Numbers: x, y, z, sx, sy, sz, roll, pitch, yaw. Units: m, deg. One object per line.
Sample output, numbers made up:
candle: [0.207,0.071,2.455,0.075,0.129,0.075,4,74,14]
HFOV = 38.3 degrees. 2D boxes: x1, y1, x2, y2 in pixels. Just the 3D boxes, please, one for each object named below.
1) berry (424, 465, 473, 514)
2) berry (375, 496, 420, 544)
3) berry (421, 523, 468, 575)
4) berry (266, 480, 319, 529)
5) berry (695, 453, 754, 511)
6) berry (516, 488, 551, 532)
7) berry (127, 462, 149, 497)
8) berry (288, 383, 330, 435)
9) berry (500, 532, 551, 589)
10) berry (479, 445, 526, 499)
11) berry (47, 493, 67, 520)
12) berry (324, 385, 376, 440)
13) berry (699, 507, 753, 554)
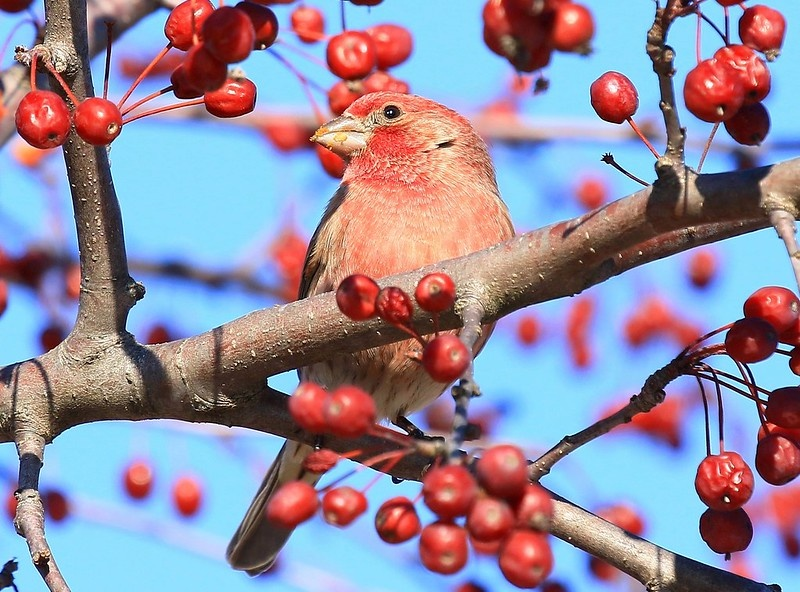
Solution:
berry: [0.115,0.489,2.827,0.105,0.097,0.106,-1,76,-24]
berry: [0.003,0.588,3.028,0.124,0.131,0.159,3,85,-22]
berry: [0.112,0.639,2.887,0.124,0.078,0.116,10,64,-4]
berry: [-0.279,0.554,3.033,0.158,0.116,0.124,-2,105,-24]
berry: [1.058,0.594,3.761,0.186,0.167,0.203,8,64,-5]
berry: [0.342,0.547,2.937,0.079,0.107,0.084,-34,81,-13]
berry: [-1.169,0.852,5.205,0.110,0.137,0.151,-2,98,-5]
berry: [-0.232,0.290,3.020,0.106,0.112,0.133,19,59,-35]
berry: [0.305,0.645,2.837,0.118,0.130,0.155,-3,86,-2]
berry: [0.253,0.438,2.872,0.112,0.117,0.143,3,100,2]
berry: [-1.576,0.978,5.310,0.091,0.069,0.122,13,29,-25]
berry: [-0.110,0.297,2.975,0.113,0.127,0.143,7,32,16]
berry: [1.062,0.804,3.843,0.158,0.229,0.136,2,64,-7]
